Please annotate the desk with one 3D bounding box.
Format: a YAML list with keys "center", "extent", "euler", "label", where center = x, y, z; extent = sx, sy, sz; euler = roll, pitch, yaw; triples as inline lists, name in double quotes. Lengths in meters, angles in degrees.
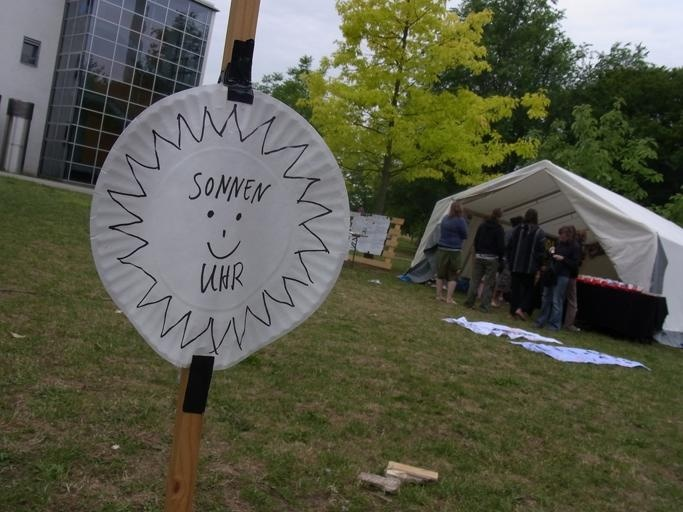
- center: [5.981, 1.113, 10.808]
  extent: [1.230, 0.844, 1.475]
  euler: [1, 8, -39]
  label: "desk"

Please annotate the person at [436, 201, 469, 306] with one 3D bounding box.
- center: [2.523, -0.022, 11.996]
  extent: [0.741, 2.267, 0.716]
  euler: [13, 11, 40]
  label: "person"

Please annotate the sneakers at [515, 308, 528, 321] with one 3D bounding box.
- center: [3.917, 1.291, 11.222]
  extent: [0.194, 0.069, 0.152]
  euler: [48, 25, 15]
  label: "sneakers"

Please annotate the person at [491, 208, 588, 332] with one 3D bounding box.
- center: [4.298, 0.332, 10.896]
  extent: [0.968, 2.435, 1.486]
  euler: [3, 9, -22]
  label: "person"
